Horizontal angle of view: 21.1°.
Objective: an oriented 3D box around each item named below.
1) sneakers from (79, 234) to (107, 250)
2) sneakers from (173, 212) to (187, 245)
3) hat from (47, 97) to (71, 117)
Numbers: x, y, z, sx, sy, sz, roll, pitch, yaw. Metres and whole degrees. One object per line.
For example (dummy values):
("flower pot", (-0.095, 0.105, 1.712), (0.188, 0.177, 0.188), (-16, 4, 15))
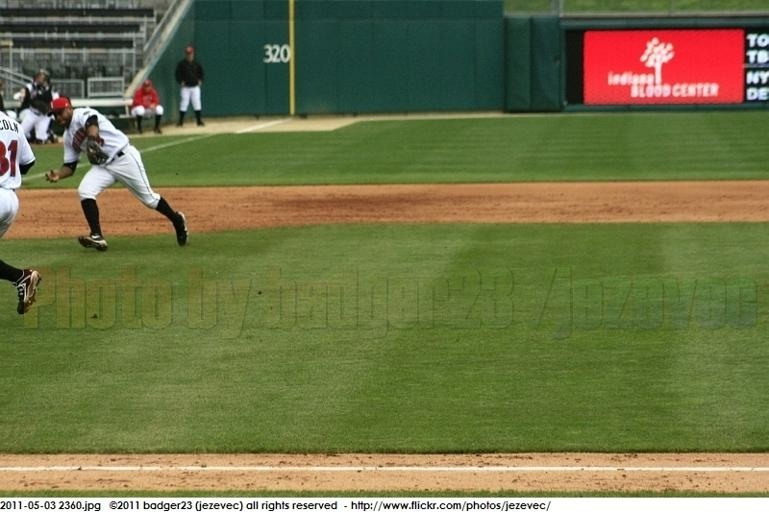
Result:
("sneakers", (-5.546, -0.263, 39.621), (0.582, 0.251, 0.215), (18, -35, -4))
("sneakers", (-3.872, -0.531, 39.866), (0.260, 0.584, 0.293), (0, 16, 13))
("hat", (-6.055, -2.795, 39.037), (0.357, 0.238, 0.466), (-6, 7, 32))
